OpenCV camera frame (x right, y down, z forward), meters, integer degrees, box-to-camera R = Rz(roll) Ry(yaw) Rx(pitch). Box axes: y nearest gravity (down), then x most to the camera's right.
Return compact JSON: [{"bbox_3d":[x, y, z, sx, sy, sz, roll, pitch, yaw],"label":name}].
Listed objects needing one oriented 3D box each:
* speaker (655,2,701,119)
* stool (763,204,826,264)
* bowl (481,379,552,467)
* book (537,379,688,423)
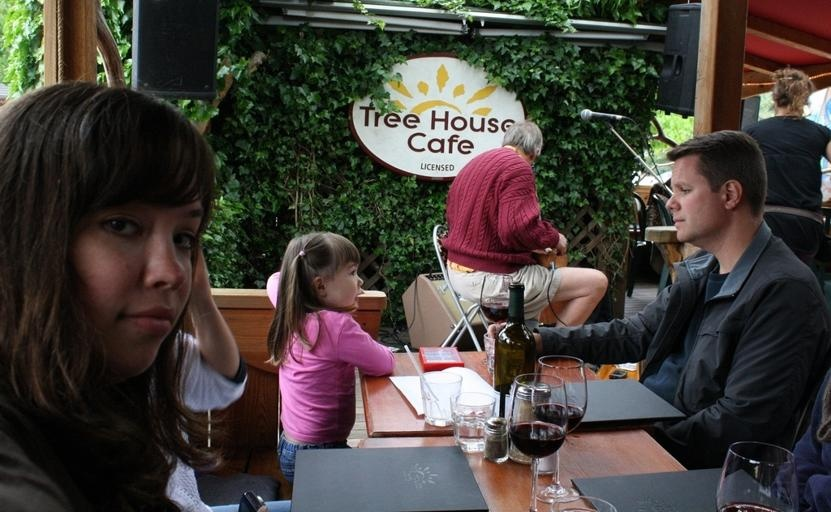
[{"bbox_3d":[2.054,-1.529,5.462,0.173,0.868,0.538,0,9,-12],"label":"speaker"},{"bbox_3d":[2.196,-0.151,4.119,0.337,0.341,0.182,5,8,6],"label":"stool"},{"bbox_3d":[0.305,0.551,2.465,0.116,0.305,0.308,3,-3,24],"label":"bowl"},{"bbox_3d":[0.783,0.538,2.610,0.267,0.066,0.273,-1,13,1],"label":"book"}]
